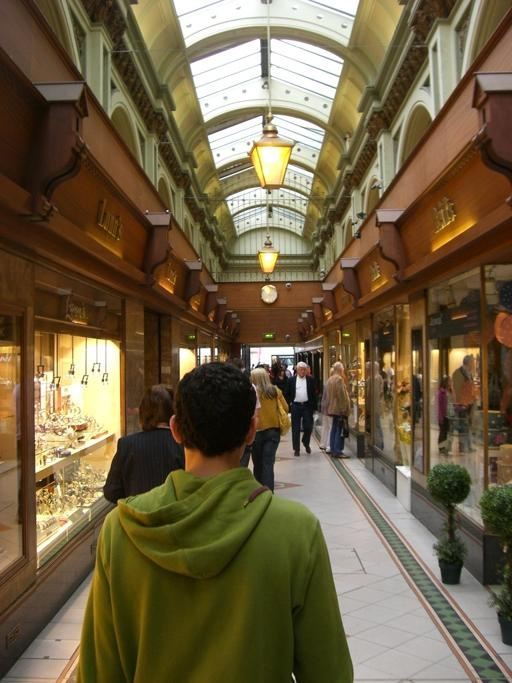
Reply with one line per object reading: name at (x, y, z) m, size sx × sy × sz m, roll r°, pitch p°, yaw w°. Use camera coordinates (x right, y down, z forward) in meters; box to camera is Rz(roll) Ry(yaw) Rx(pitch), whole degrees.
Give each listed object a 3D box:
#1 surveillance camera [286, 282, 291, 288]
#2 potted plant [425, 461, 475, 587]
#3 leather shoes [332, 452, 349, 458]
surveillance camera at (1.542, -2.655, 19.793) m, size 0.233 × 0.415 × 0.203 m, roll -1°, pitch -1°, yaw 11°
potted plant at (1.934, 1.738, 4.067) m, size 0.328 × 1.093 × 0.603 m, roll -5°, pitch -7°, yaw 43°
leather shoes at (2.037, 2.760, 10.084) m, size 0.419 × 0.207 × 0.159 m, roll 0°, pitch -1°, yaw -3°
